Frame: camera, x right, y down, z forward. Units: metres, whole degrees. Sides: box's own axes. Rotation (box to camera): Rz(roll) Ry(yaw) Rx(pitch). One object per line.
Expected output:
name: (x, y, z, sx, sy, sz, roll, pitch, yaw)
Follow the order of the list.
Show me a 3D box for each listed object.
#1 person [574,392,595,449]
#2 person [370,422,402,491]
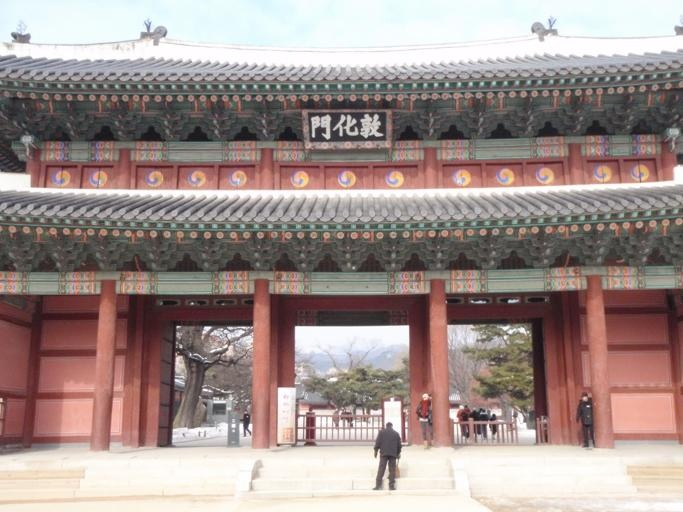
person: (6.953, 4.683, 20.239, 0.487, 1.534, 1.597, -6, -15, 17)
person: (1.079, 4.830, 17.046, 0.651, 1.553, 0.660, -1, -14, -3)
